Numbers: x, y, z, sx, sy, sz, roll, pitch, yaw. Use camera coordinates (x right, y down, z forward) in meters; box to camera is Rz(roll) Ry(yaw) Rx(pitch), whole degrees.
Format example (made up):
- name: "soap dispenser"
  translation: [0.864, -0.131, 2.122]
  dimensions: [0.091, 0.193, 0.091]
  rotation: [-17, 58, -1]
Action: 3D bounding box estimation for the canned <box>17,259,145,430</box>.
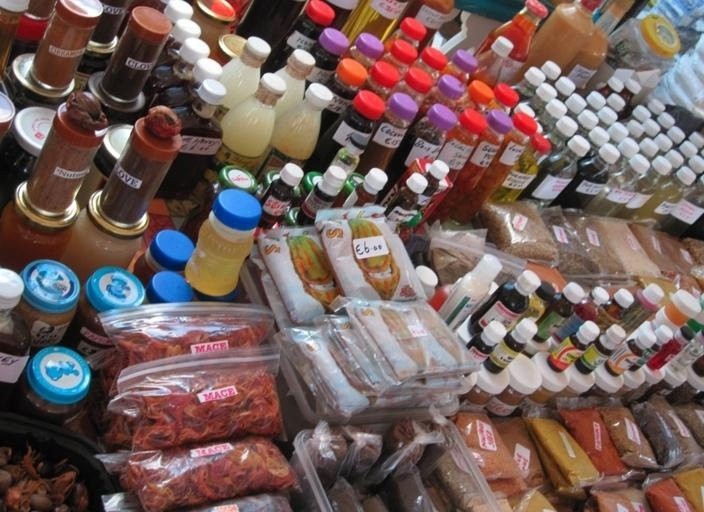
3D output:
- name: "canned"
  translation: [-0.584, 0.194, 1.132]
  dimensions: [0.175, 0.301, 0.189]
  rotation: [28, 34, -14]
